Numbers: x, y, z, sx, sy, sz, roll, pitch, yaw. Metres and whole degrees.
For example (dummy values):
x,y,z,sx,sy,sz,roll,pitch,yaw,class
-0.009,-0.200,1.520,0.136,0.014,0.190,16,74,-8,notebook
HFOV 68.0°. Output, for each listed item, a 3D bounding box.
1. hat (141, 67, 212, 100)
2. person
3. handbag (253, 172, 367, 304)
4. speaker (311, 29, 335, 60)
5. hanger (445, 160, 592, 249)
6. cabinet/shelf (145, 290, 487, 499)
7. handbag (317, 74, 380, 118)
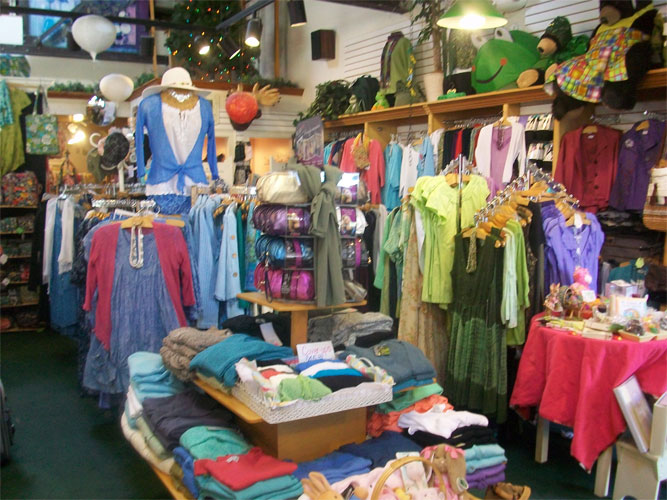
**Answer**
x,y,z,sx,sy,sz,roll,pitch,yaw,class
-1.561,-1.661,4.927,0.457,0.204,0.411,-5,5,-23,hat
-1.678,-0.946,5.357,0.826,2.059,0.582,-6,36,-25,person
-0.146,-0.072,2.933,0.698,0.992,0.291,-3,3,-23,handbag
-0.145,-3.087,7.379,0.213,0.410,0.400,-4,9,-26,speaker
1.436,-0.359,3.793,0.911,0.585,0.356,-4,8,-21,hanger
-0.232,0.648,2.915,1.168,1.284,1.287,-6,12,-34,cabinet/shelf
0.136,-2.205,6.673,0.708,0.679,0.441,-3,2,8,handbag
